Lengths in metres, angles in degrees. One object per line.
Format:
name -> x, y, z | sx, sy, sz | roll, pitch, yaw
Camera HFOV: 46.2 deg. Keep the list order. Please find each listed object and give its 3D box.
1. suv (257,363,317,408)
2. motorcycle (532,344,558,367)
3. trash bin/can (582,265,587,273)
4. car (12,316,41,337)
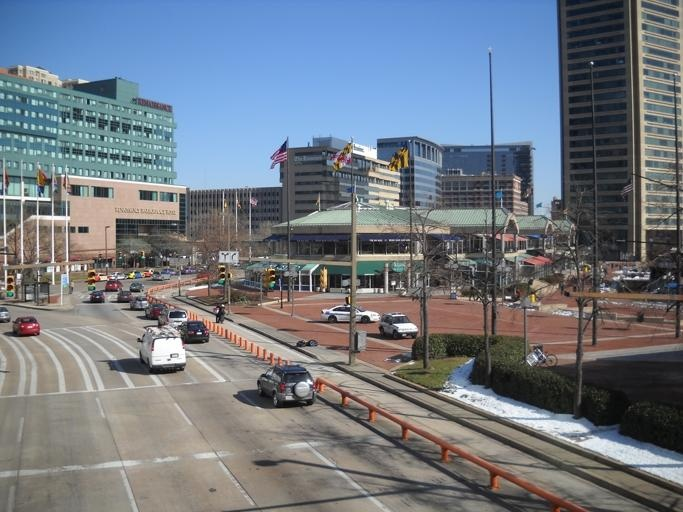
suv -> -3.267, 7.230, 45.740 | 1.808, 1.374, 3.386 | 2, 2, -25
motorcycle -> 13.054, 6.398, 51.323 | 1.437, 1.041, 2.175 | 2, -17, 11
trash bin/can -> 16.563, 0.864, 54.554 | 0.457, 0.414, 1.744 | 11, 4, 18
car -> -26.713, 5.839, 66.981 | 1.308, 0.895, 2.823 | 0, 2, -34
